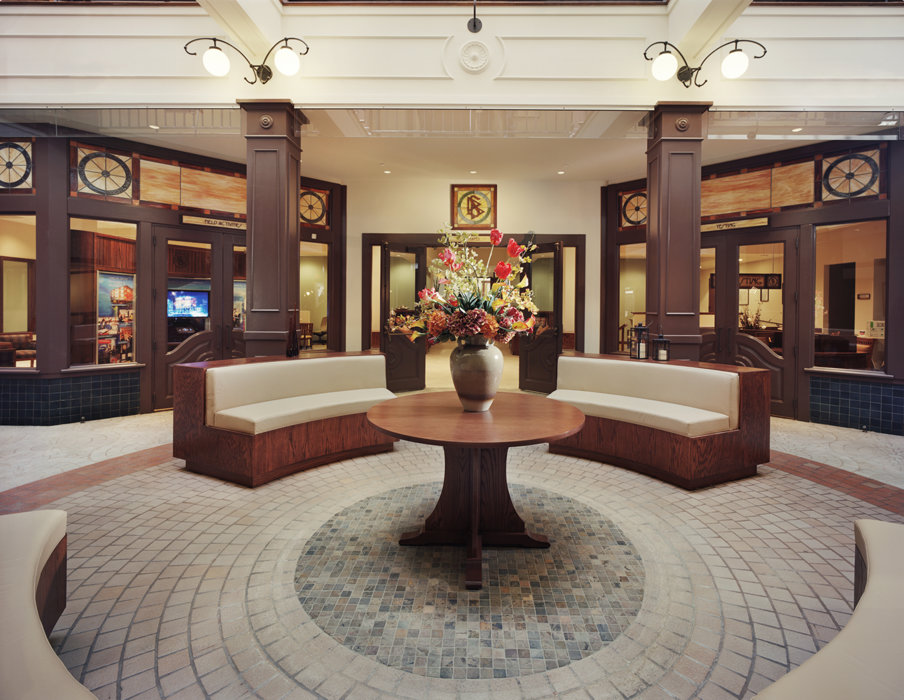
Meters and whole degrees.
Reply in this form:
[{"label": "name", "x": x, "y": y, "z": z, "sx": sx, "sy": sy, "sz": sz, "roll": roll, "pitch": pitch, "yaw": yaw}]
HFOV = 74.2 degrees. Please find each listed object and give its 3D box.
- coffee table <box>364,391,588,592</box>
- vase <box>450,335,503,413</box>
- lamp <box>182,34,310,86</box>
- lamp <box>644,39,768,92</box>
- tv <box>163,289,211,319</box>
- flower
[{"label": "coffee table", "x": 0.159, "y": 0.932, "z": 4.191, "sx": 1.548, "sy": 0.922, "sz": 1.525, "roll": -3, "pitch": 6, "yaw": -10}, {"label": "vase", "x": 0.136, "y": 0.192, "z": 4.331, "sx": 0.513, "sy": 0.599, "sz": 0.496, "roll": -1, "pitch": -1, "yaw": -8}, {"label": "lamp", "x": -1.871, "y": -2.669, "z": 5.635, "sx": 1.206, "sy": 0.446, "sz": 0.370, "roll": 4, "pitch": -1, "yaw": 13}, {"label": "lamp", "x": 2.510, "y": -2.721, "z": 5.737, "sx": 0.667, "sy": 0.256, "sz": 0.311, "roll": -1, "pitch": 2, "yaw": -3}, {"label": "tv", "x": -3.399, "y": -0.580, "z": 7.567, "sx": 0.413, "sy": 0.264, "sz": 0.017, "roll": -4, "pitch": 10, "yaw": -40}, {"label": "flower", "x": 0.278, "y": -0.442, "z": 4.544, "sx": 1.115, "sy": 0.787, "sz": 1.052, "roll": 7, "pitch": 15, "yaw": 29}]
